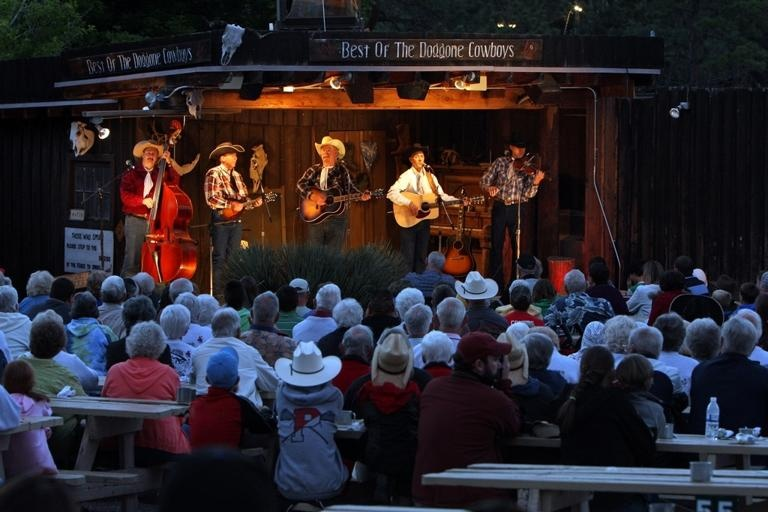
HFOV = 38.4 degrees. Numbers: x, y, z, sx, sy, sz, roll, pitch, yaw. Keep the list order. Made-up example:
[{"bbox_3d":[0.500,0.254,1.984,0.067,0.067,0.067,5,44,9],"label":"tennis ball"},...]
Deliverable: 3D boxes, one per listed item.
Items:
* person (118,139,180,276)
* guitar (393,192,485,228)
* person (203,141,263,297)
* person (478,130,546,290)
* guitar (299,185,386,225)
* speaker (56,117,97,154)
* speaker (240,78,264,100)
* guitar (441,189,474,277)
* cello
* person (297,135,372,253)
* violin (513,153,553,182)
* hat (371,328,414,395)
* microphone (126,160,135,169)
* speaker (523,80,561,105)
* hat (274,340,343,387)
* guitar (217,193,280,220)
[{"bbox_3d":[-3.351,-0.737,16.024,0.856,1.955,0.585,3,5,29],"label":"person"},{"bbox_3d":[0.819,-0.751,16.509,1.341,0.598,0.187,-5,2,-7],"label":"guitar"},{"bbox_3d":[-2.274,-0.538,16.304,0.609,2.284,0.845,5,7,30],"label":"person"},{"bbox_3d":[1.942,-0.566,16.644,1.029,2.382,0.797,6,11,10],"label":"person"},{"bbox_3d":[-0.658,-0.807,16.641,1.209,0.565,0.187,-6,-5,1],"label":"guitar"},{"bbox_3d":[-4.654,-1.846,16.963,0.287,0.532,0.400,-7,20,-30],"label":"speaker"},{"bbox_3d":[-1.789,-2.251,14.715,0.268,0.258,0.229,0,3,26],"label":"speaker"},{"bbox_3d":[1.172,-0.347,17.084,0.427,1.329,0.501,7,-8,-29],"label":"guitar"},{"bbox_3d":[-3.086,-0.767,15.509,0.820,2.275,0.467,1,0,38],"label":"cello"},{"bbox_3d":[-0.783,-0.704,16.786,1.089,2.168,0.671,2,-7,2],"label":"person"},{"bbox_3d":[2.171,-1.318,16.601,0.321,0.168,0.644,-13,45,-21],"label":"violin"},{"bbox_3d":[0.065,0.883,9.158,0.265,0.503,0.187,5,-33,-5],"label":"hat"},{"bbox_3d":[-3.791,-1.389,16.316,0.187,0.155,0.071,-3,-3,32],"label":"microphone"},{"bbox_3d":[2.190,-2.292,15.184,0.466,0.275,0.561,0,-1,4],"label":"speaker"},{"bbox_3d":[-0.664,0.853,9.451,0.574,0.274,0.678,-6,12,-11],"label":"hat"},{"bbox_3d":[-2.034,-0.789,16.329,0.888,0.362,0.101,-27,15,-24],"label":"guitar"}]
